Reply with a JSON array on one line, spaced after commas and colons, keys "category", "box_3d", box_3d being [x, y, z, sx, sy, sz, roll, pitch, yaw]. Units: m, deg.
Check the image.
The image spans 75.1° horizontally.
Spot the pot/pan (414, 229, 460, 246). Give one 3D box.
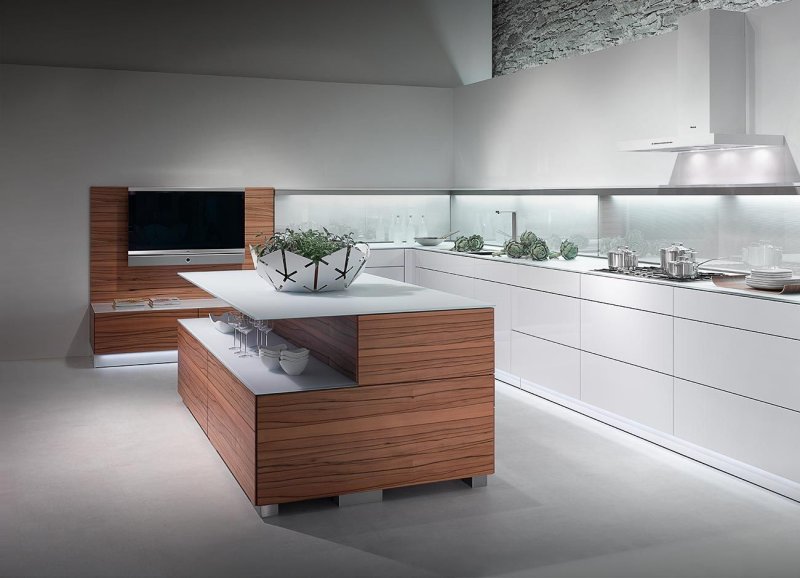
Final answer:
[{"category": "pot/pan", "box_3d": [0.482, -0.654, 6.779, 0.436, 0.067, 0.299, -7, 0, -2]}]

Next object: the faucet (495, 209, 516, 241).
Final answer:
[{"category": "faucet", "box_3d": [1.282, -0.793, 6.348, 0.198, 0.366, 0.481, -2, 6, -22]}]

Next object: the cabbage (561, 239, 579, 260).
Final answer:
[{"category": "cabbage", "box_3d": [1.637, -0.373, 5.127, 0.176, 0.183, 0.204, 3, 4, 42]}]

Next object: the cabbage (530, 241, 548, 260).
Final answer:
[{"category": "cabbage", "box_3d": [1.351, -0.373, 5.029, 0.158, 0.194, 0.078, -16, -24, 31]}]

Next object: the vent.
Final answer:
[{"category": "vent", "box_3d": [2.125, -1.338, 3.907, 0.932, 0.991, 1.135, -1, 1, -34]}]

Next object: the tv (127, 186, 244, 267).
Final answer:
[{"category": "tv", "box_3d": [-2.558, -0.741, 6.072, 1.113, 0.648, 0.167, 0, 1, -20]}]

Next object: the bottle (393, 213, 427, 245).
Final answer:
[{"category": "bottle", "box_3d": [0.122, -0.834, 7.201, 0.503, 0.392, 0.159, -3, 11, -18]}]

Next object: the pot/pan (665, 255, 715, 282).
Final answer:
[{"category": "pot/pan", "box_3d": [2.052, -0.152, 3.699, 0.208, 0.088, 0.245, -1, 6, -14]}]

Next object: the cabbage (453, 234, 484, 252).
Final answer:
[{"category": "cabbage", "box_3d": [0.838, -0.517, 6.084, 0.334, 0.139, 0.240, 3, 0, -38]}]

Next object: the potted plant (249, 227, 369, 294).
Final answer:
[{"category": "potted plant", "box_3d": [-0.645, -0.186, 3.476, 0.548, 0.237, 0.559, 1, 0, -19]}]

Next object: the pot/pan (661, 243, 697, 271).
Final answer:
[{"category": "pot/pan", "box_3d": [2.082, -0.243, 3.881, 0.211, 0.205, 0.260, 4, 5, 37]}]

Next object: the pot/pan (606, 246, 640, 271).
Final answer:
[{"category": "pot/pan", "box_3d": [1.804, -0.251, 4.207, 0.208, 0.132, 0.200, -2, 4, -32]}]

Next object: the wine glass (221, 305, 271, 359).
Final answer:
[{"category": "wine glass", "box_3d": [-1.094, 0.305, 3.727, 0.227, 0.296, 0.873, 0, -1, -24]}]
